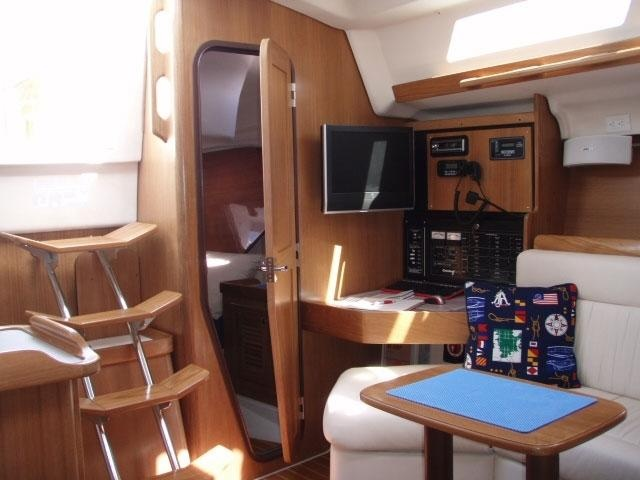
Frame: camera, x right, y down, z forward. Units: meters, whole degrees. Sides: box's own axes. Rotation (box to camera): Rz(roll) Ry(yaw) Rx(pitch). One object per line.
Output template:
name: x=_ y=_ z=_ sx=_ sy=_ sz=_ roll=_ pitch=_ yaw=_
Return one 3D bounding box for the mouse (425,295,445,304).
mouse: x=0.678 y=0.342 z=2.969 sx=0.053 sy=0.031 sz=0.091 roll=-3 pitch=4 yaw=-37

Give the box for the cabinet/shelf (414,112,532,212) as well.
cabinet/shelf: x=1.042 y=-0.476 z=3.301 sx=0.636 sy=0.487 sz=0.340 roll=1 pitch=11 yaw=29

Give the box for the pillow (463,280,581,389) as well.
pillow: x=1.005 y=0.476 z=2.484 sx=0.462 sy=0.455 sz=0.164 roll=3 pitch=-13 yaw=14

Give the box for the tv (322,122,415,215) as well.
tv: x=0.282 y=-0.448 z=3.132 sx=0.562 sy=0.427 sz=0.056 roll=-5 pitch=9 yaw=-31
